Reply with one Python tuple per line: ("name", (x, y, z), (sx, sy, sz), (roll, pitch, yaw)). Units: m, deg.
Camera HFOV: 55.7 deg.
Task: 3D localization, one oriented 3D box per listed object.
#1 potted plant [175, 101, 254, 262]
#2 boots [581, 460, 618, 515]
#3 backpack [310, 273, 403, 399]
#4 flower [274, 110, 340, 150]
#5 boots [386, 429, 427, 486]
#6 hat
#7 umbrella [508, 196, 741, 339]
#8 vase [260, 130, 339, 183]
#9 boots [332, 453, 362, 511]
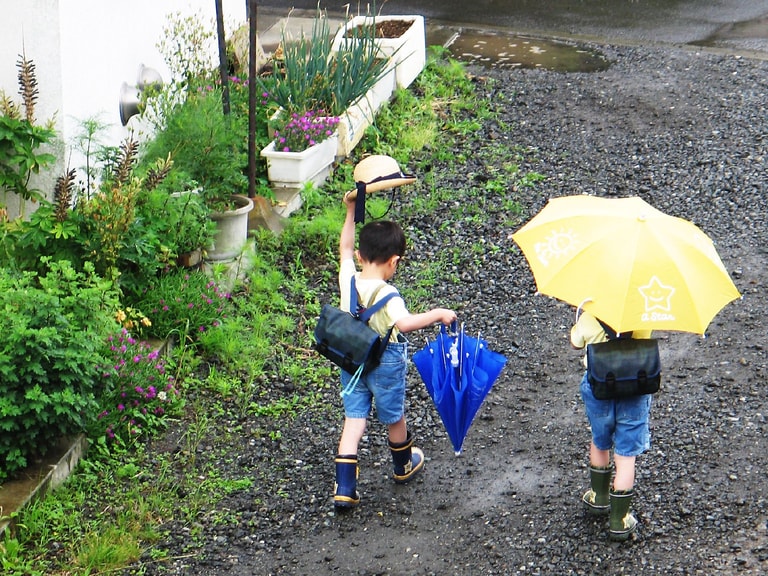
("potted plant", (-1.379, -0.844, 5.919), (0.582, 1.209, 0.891), (-2, 18, -16))
("boots", (1.274, 1.187, 4.362), (0.126, 0.267, 0.258), (-1, 0, -1))
("backpack", (-0.183, 0.224, 4.307), (0.458, 0.531, 0.219), (14, 20, 31))
("flower", (-0.768, -1.604, 7.059), (0.353, 0.219, 0.550), (12, 41, 25))
("boots", (0.145, 1.048, 4.665), (0.153, 0.283, 0.300), (8, 22, 34))
("hat", (-0.080, -0.608, 4.399), (0.416, 0.370, 0.345), (-7, 9, 37))
("umbrella", (1.319, -0.149, 4.000), (1.175, 0.584, 0.673), (7, 18, 10))
("vase", (-0.895, -1.278, 7.114), (0.421, 0.367, 1.084), (11, 33, 20))
("boots", (-0.229, 1.150, 4.399), (0.151, 0.349, 0.225), (2, 17, -3))
